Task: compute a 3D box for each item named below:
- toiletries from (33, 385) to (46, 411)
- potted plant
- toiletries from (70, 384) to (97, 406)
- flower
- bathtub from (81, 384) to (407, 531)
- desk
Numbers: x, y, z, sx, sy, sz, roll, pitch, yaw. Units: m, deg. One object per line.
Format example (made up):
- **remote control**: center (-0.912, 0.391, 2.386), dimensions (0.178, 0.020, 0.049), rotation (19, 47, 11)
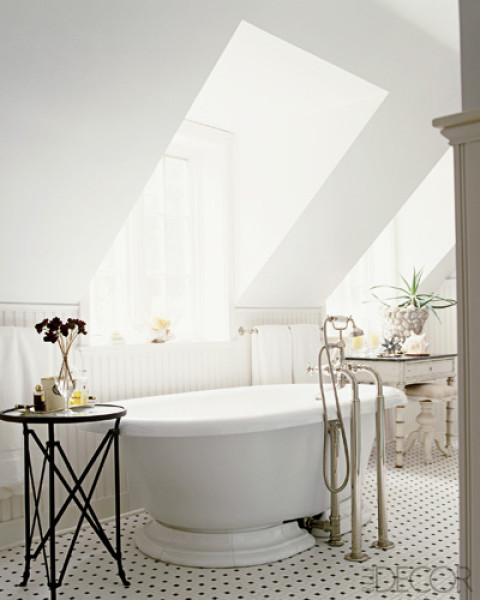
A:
- **toiletries**: center (-0.785, 0.384, 2.150), dimensions (0.037, 0.102, 0.046), rotation (-2, -2, -9)
- **potted plant**: center (1.377, 0.074, 4.407), dimensions (0.559, 0.637, 0.722), rotation (2, -7, 6)
- **toiletries**: center (-0.672, 0.412, 2.350), dimensions (0.085, 0.053, 0.132), rotation (1, 3, -9)
- **flower**: center (-0.732, 0.220, 2.300), dimensions (0.169, 0.309, 0.186), rotation (3, 19, 4)
- **bathtub**: center (-0.037, 0.732, 2.599), dimensions (1.387, 0.413, 0.902), rotation (-2, -3, -38)
- **desk**: center (-0.750, 0.768, 2.333), dimensions (0.539, 0.702, 0.978), rotation (-3, -2, -13)
